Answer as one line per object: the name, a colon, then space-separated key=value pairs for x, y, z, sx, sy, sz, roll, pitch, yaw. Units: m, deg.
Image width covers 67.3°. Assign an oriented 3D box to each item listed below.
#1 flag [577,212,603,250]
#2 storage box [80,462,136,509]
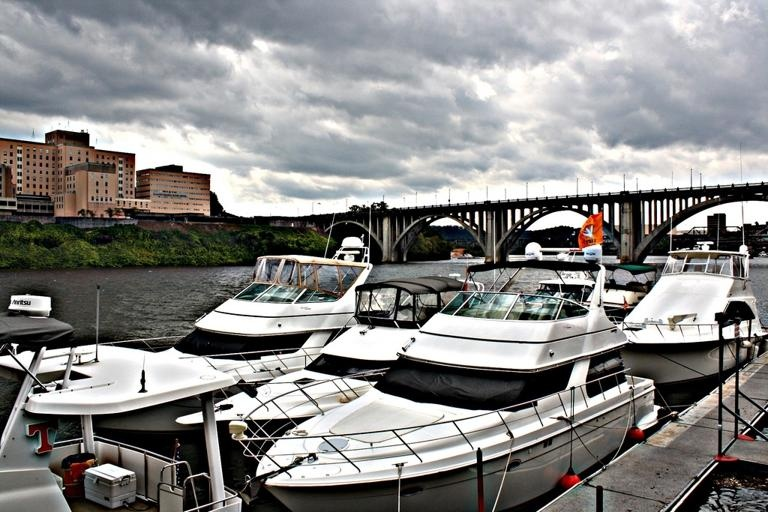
flag: x=6.701 y=-0.815 z=18.735 sx=0.740 sy=0.950 sz=2.208 roll=2 pitch=2 yaw=18
storage box: x=-4.564 y=3.809 z=9.578 sx=1.001 sy=0.431 sz=0.635 roll=-1 pitch=-3 yaw=39
